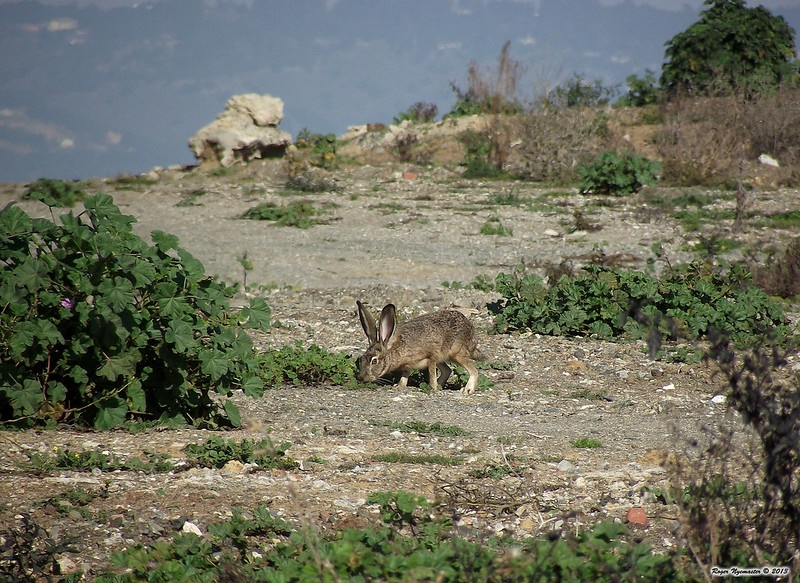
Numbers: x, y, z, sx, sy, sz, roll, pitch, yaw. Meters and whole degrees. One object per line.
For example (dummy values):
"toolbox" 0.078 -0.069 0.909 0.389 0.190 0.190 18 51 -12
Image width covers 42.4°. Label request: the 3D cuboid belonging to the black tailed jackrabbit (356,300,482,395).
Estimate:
"black tailed jackrabbit" 0.270 0.688 12.284 1.815 1.088 0.620 -6 5 -30
